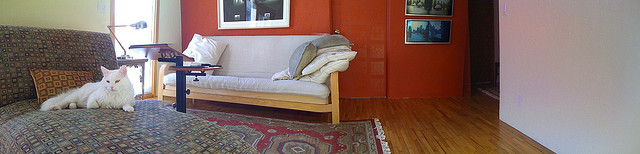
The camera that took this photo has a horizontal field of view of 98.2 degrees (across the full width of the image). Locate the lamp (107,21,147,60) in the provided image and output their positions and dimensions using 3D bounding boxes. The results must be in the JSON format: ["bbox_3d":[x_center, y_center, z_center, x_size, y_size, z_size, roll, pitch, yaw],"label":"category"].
[{"bbox_3d":[-6.927,-1.347,10.132,1.113,1.371,0.855,-9,18,-29],"label":"lamp"}]

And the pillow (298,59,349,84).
[{"bbox_3d":[0.146,-0.197,9.549,1.600,0.828,0.235,-1,17,-2],"label":"pillow"}]

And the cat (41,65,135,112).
[{"bbox_3d":[-7.113,0.504,9.020,3.818,0.834,1.449,-5,-6,18],"label":"cat"}]
